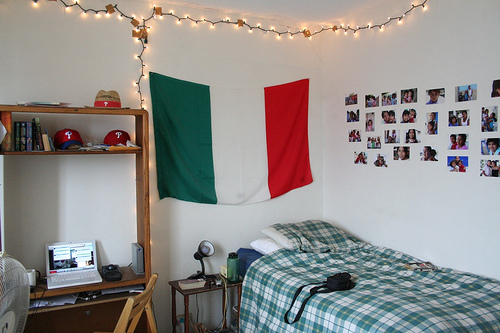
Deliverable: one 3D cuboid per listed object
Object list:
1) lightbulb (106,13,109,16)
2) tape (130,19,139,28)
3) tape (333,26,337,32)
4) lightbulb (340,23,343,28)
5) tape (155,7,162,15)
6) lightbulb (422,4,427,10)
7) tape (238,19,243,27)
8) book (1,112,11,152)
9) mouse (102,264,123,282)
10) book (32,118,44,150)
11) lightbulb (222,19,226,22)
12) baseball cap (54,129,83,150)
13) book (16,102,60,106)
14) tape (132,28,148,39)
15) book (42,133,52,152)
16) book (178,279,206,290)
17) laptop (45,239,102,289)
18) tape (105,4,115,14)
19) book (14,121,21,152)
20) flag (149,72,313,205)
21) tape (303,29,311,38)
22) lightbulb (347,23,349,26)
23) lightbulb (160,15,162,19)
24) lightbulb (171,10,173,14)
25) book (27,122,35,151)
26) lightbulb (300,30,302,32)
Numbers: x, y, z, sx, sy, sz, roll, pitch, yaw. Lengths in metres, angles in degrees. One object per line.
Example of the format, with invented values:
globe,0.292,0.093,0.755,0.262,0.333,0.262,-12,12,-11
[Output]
lightbulb,-1.438,-1.532,3.698,0.024,0.025,0.014,0,22,-7
tape,-1.192,-1.472,3.769,0.078,0.077,0.019,12,9,-20
tape,1.029,-1.685,4.492,0.055,0.083,0.021,6,12,19
lightbulb,1.093,-1.699,4.428,0.029,0.057,0.036,5,11,28
tape,-0.960,-1.635,3.859,0.076,0.076,0.054,-6,11,-31
lightbulb,1.751,-1.600,3.695,0.057,0.030,0.030,9,1,44
tape,-0.113,-1.637,4.178,0.051,0.058,0.013,10,2,-30
book,-2.091,-0.311,3.145,0.102,0.295,0.299,-2,5,-33
mouse,-1.302,0.993,3.451,0.157,0.098,0.207,-6,11,-30
book,-1.864,-0.285,3.225,0.045,0.213,0.204,-3,-2,-18
lightbulb,-0.307,-1.655,4.153,0.022,0.024,0.023,-1,20,-2
baseball cap,-1.698,-0.260,3.431,0.259,0.207,0.356,-11,11,-29
book,-1.891,-0.572,3.314,0.454,0.030,0.280,-1,9,1
tape,-1.140,-1.380,3.809,0.156,0.097,0.050,-3,10,-16
book,-1.788,-0.205,3.230,0.027,0.128,0.123,-10,7,-6
book,-0.585,1.184,3.738,0.275,0.075,0.131,-3,10,-17
laptop,-1.636,0.887,3.422,0.537,0.298,0.510,4,3,-19
tape,-1.400,-1.580,3.670,0.076,0.087,0.072,-4,10,-20
book,-2.021,-0.257,3.184,0.079,0.228,0.231,-1,3,-30
flag,-0.291,-0.330,4.164,1.470,1.200,0.079,-2,2,-30
tape,0.698,-1.645,4.530,0.063,0.069,0.026,1,3,-12
lightbulb,1.158,-1.685,4.375,0.023,0.021,0.007,8,13,43
lightbulb,-0.953,-1.590,3.895,0.026,0.016,0.037,-2,-4,-1
lightbulb,-0.840,-1.660,3.945,0.020,0.038,0.009,-7,12,-36
book,-1.918,-0.263,3.203,0.044,0.241,0.054,0,9,0
lightbulb,0.624,-1.677,4.543,0.023,0.019,0.008,-5,11,-27
